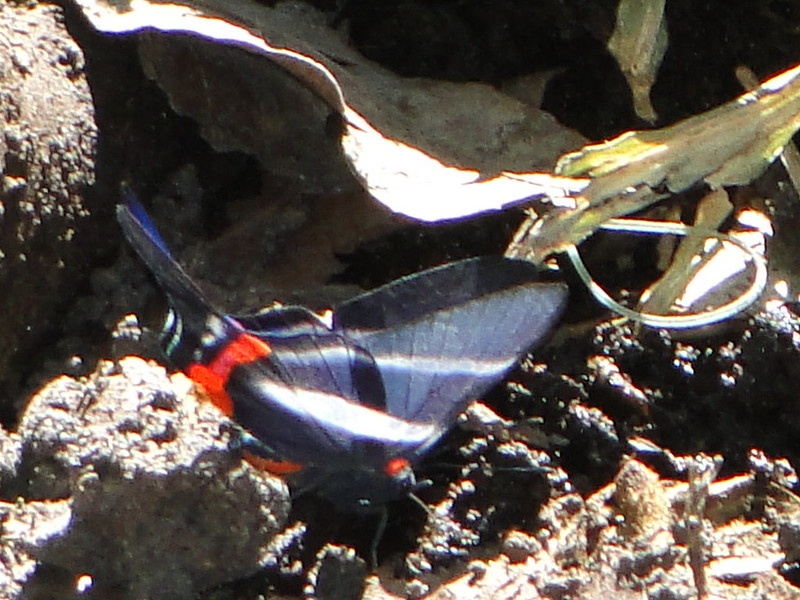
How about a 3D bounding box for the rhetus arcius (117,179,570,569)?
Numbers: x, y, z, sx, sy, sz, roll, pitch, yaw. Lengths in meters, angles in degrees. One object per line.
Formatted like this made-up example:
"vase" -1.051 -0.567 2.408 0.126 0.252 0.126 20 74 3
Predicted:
"rhetus arcius" -0.142 0.077 2.376 0.610 0.329 0.433 -1 38 -41
